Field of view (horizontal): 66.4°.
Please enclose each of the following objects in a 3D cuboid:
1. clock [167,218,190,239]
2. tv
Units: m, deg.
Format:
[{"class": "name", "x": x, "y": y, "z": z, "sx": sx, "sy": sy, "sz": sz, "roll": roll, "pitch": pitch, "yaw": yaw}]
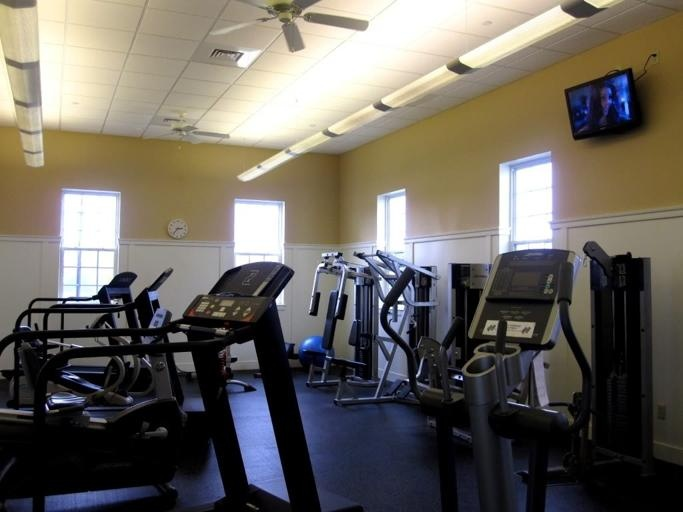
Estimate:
[{"class": "clock", "x": -2.996, "y": -0.511, "z": 9.531, "sx": 0.340, "sy": 0.360, "sz": 0.081, "roll": 1, "pitch": -2, "yaw": -21}, {"class": "tv", "x": 2.864, "y": -1.650, "z": 5.670, "sx": 0.304, "sy": 0.775, "sz": 0.846, "roll": -12, "pitch": 5, "yaw": -38}]
